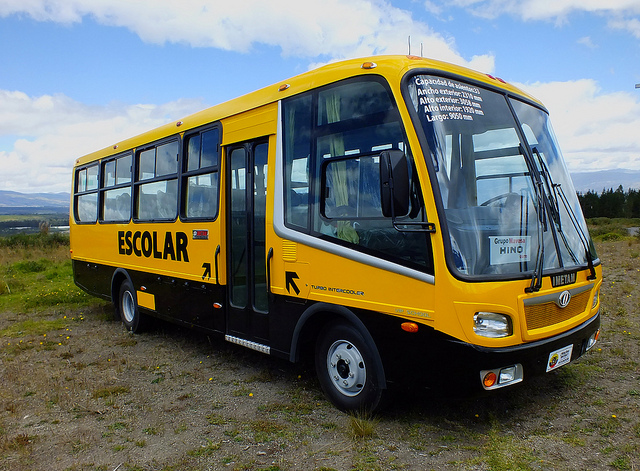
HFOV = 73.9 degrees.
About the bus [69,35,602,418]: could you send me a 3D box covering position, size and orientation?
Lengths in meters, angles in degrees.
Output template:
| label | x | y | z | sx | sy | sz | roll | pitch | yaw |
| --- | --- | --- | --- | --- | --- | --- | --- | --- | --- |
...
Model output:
| label | x | y | z | sx | sy | sz | roll | pitch | yaw |
| --- | --- | --- | --- | --- | --- | --- | --- | --- | --- |
| bus | -1.622 | -0.207 | 8.481 | 12.031 | 4.567 | 2.840 | 2 | 7 | 41 |
